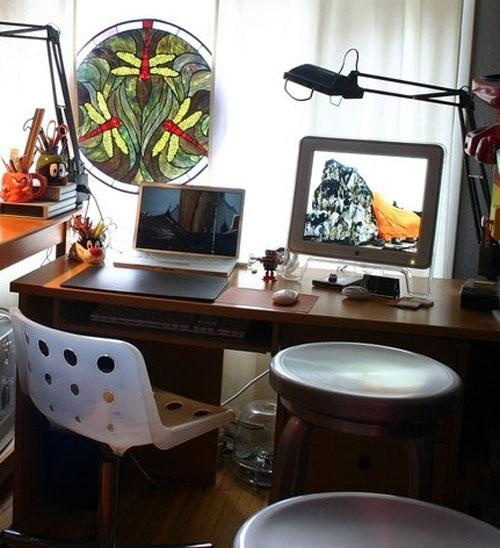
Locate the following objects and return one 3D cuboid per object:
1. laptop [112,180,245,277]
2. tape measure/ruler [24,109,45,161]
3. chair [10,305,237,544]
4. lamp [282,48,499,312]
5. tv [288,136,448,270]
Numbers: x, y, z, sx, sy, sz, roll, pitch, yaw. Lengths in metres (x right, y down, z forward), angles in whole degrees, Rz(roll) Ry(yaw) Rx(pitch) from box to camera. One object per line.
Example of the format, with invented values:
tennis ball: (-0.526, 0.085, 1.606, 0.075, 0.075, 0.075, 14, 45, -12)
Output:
laptop: (-0.245, -0.167, 1.642, 0.415, 0.287, 0.335, 6, 10, 10)
tape measure/ruler: (-0.842, -0.554, 1.908, 0.044, 0.299, 0.050, 29, 56, -6)
chair: (-0.368, 0.427, 1.335, 0.495, 0.745, 0.472, 12, 18, 34)
lamp: (0.466, -0.325, 1.571, 0.748, 0.945, 0.252, 10, 46, 9)
tv: (0.366, -0.225, 1.511, 0.406, 0.380, 0.043, 10, 3, 14)
